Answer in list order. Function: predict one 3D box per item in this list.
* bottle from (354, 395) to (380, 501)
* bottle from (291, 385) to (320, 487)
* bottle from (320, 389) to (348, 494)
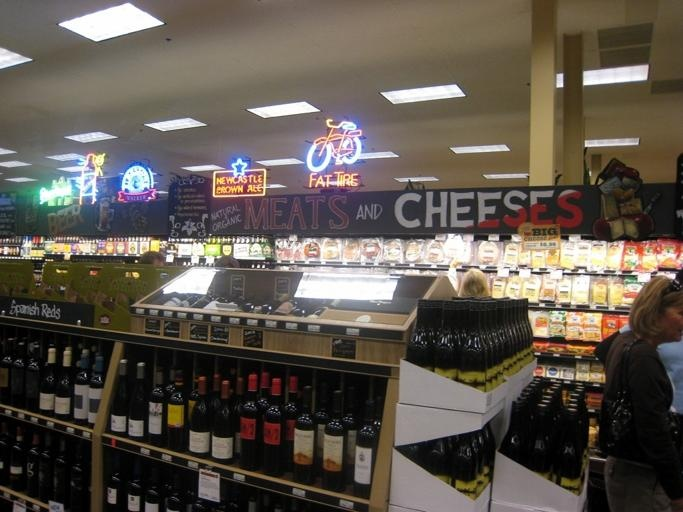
[{"bbox_3d":[0.135,1.042,2.961,0.138,0.535,0.178,1,-1,3],"label":"bottle"},{"bbox_3d":[-0.220,1.015,3.117,0.137,0.539,0.177,1,-1,-4],"label":"bottle"},{"bbox_3d":[-0.055,1.020,3.056,0.142,0.557,0.219,2,-1,-36],"label":"bottle"}]
